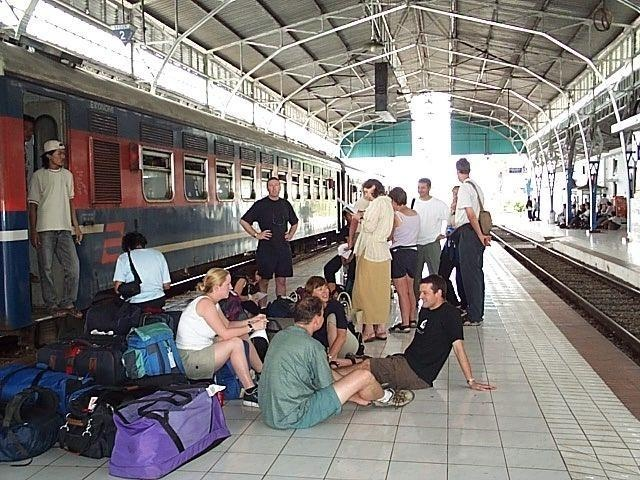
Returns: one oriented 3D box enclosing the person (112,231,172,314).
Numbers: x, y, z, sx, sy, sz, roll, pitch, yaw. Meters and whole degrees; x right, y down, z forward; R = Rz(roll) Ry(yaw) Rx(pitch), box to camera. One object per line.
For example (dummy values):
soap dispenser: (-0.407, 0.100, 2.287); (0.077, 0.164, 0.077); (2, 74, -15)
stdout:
person: (-2.097, 0.412, 4.934); (0.615, 0.980, 0.542); (2, -18, -38)

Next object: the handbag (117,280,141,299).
handbag: (-2.100, 0.546, 4.639); (0.223, 0.168, 0.226); (0, -22, -25)

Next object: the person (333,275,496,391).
person: (0.914, 0.980, 4.637); (1.565, 1.190, 1.029); (-4, -9, 18)

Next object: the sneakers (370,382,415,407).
sneakers: (0.681, 1.492, 4.073); (0.424, 0.192, 0.172); (-3, 42, 5)

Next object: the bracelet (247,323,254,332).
bracelet: (-0.695, 0.870, 4.216); (0.017, 0.063, 0.063); (-9, 25, -22)

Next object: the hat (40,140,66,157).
hat: (-3.281, -1.125, 5.178); (0.241, 0.137, 0.190); (3, 12, 26)

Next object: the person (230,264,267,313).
person: (-1.057, 0.728, 6.327); (0.477, 0.789, 0.345); (-10, 37, -13)

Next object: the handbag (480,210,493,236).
handbag: (2.570, -0.270, 6.576); (0.163, 0.411, 0.312); (-1, 4, 23)

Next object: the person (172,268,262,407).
person: (-0.970, 0.972, 4.215); (0.882, 1.295, 0.514); (0, 1, -13)

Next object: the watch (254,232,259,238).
watch: (-1.097, -0.083, 7.249); (0.033, 0.085, 0.060); (-34, 31, -15)

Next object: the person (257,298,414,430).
person: (0.100, 1.102, 4.002); (1.345, 1.105, 0.901); (1, -4, -28)

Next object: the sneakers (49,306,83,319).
sneakers: (-3.251, 0.922, 5.377); (0.288, 0.132, 0.107); (-1, 4, -13)
